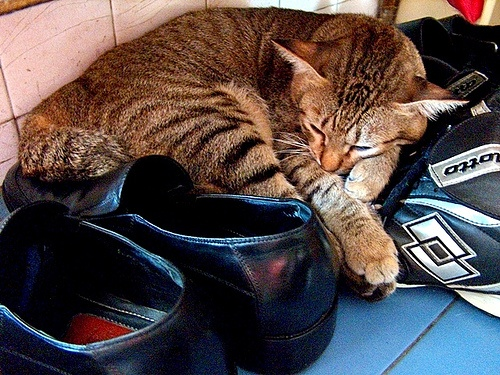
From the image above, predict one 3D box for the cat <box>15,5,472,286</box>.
[{"bbox_3d":[-0.052,-0.125,1.225,0.927,0.435,0.710,25,40,21],"label":"cat"}]
